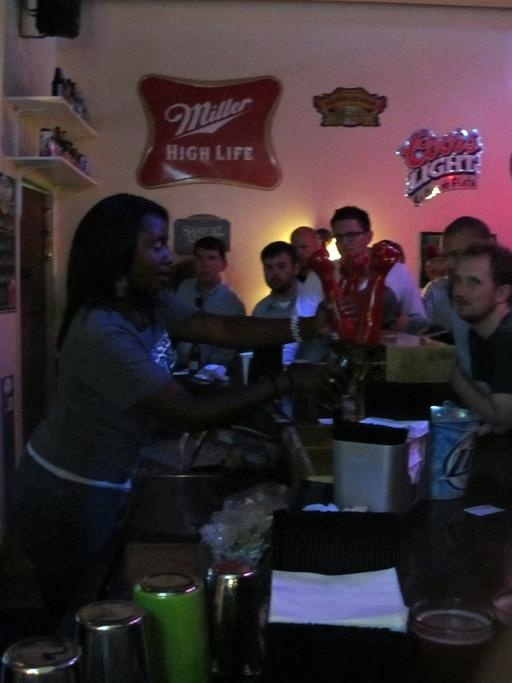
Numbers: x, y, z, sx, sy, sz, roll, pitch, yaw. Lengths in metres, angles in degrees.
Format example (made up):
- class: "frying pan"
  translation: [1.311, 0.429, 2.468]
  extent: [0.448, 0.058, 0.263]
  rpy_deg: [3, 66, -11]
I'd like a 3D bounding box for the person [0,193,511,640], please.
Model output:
- class: "person"
  translation: [-0.026, -0.097, 1.490]
  extent: [0.932, 1.366, 0.473]
  rpy_deg: [-2, 24, -14]
